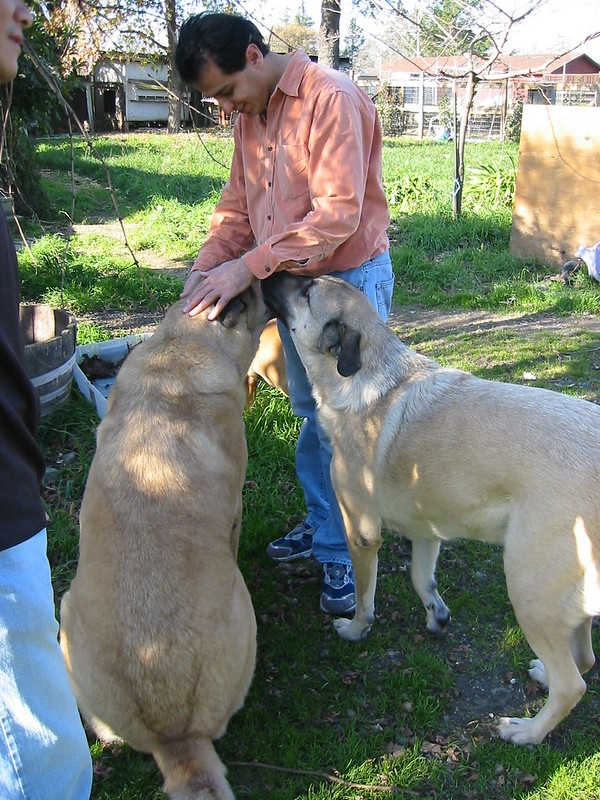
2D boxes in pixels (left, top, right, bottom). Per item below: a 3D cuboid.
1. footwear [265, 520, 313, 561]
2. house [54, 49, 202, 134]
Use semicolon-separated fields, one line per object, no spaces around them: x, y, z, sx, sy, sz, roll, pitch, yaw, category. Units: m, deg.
-0.021;0.784;4.010;0.125;0.154;0.381;28;29;37;footwear
-7.666;-14.744;35.915;5.099;2.641;4.874;-2;3;0;house
